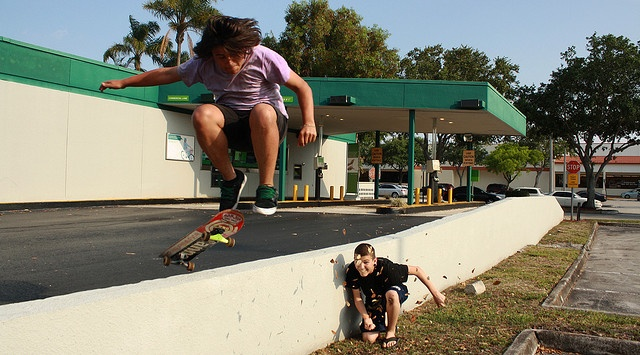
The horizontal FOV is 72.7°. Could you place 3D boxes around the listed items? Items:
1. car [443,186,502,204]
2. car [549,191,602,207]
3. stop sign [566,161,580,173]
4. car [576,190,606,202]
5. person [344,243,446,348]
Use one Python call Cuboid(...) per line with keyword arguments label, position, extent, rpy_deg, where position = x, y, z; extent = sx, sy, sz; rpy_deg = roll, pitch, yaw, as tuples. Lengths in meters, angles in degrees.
Cuboid(label="car", position=(11.975, 1.406, 34.721), extent=(3.019, 1.026, 1.302), rpy_deg=(-1, 1, 6))
Cuboid(label="car", position=(19.956, 1.727, 34.049), extent=(3.909, 1.292, 1.675), rpy_deg=(-2, 3, 5))
Cuboid(label="stop sign", position=(13.850, -0.554, 23.865), extent=(0.572, 0.685, 1.264), rpy_deg=(0, 1, 29))
Cuboid(label="car", position=(24.938, 1.725, 40.390), extent=(2.861, 0.960, 1.262), rpy_deg=(5, 2, 24))
Cuboid(label="person", position=(1.075, 2.238, 8.365), extent=(1.197, 1.956, 0.397), rpy_deg=(-1, 1, 1))
